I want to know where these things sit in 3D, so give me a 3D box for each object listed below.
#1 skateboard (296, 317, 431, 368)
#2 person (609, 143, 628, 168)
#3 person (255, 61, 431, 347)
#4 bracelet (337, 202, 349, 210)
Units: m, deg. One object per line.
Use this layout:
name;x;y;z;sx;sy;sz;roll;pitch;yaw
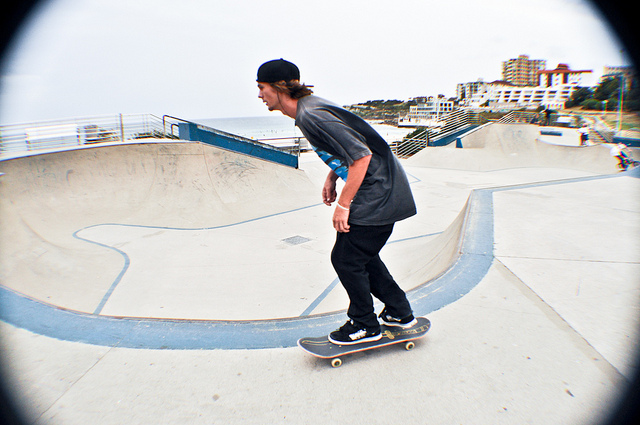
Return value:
skateboard;0.348;1.015;3.240;1.203;0.179;0.363;-4;11;-13
person;9.924;-1.886;13.715;0.513;0.667;2.721;10;13;34
person;0.252;-0.056;3.200;1.356;2.150;0.527;5;13;14
bracelet;0.169;-0.048;3.111;0.091;0.041;0.041;7;13;26
